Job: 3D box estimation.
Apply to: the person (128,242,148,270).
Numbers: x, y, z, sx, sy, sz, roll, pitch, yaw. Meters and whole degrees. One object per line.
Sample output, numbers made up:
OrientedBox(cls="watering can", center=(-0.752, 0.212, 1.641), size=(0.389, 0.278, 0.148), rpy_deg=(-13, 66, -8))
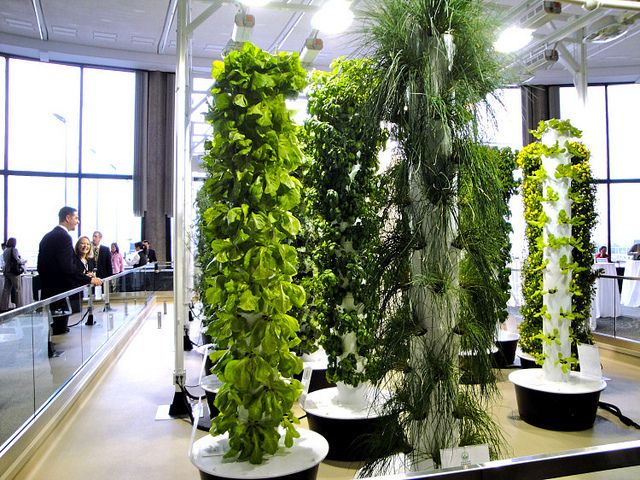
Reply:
OrientedBox(cls="person", center=(-5.318, 0.506, 13.459), size=(0.367, 1.194, 0.466), rpy_deg=(14, 15, 9))

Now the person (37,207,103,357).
OrientedBox(cls="person", center=(-3.376, 0.168, 6.078), size=(0.674, 1.845, 0.443), rpy_deg=(-3, 1, -24))
